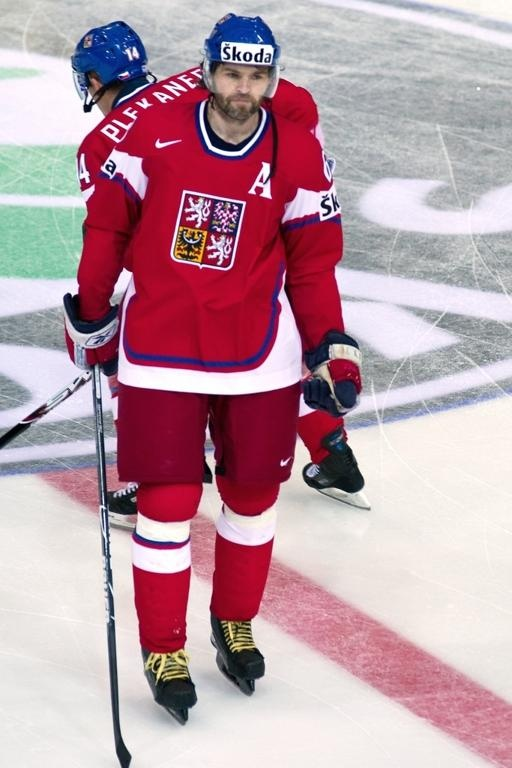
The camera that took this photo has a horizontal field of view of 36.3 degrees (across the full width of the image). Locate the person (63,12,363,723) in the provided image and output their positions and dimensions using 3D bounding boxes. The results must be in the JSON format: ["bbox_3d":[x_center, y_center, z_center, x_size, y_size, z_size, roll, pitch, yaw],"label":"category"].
[{"bbox_3d":[-0.086,-0.024,1.643,0.729,1.398,0.431,3,11,6],"label":"person"}]

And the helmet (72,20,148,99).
[{"bbox_3d":[-0.434,-0.936,2.284,0.227,0.198,0.163,6,39,31],"label":"helmet"}]

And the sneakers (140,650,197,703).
[{"bbox_3d":[-0.176,0.626,1.651,0.064,0.058,0.161,-8,15,-12],"label":"sneakers"}]

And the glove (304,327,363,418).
[{"bbox_3d":[0.166,-0.016,1.660,0.179,0.079,0.126,-21,37,51],"label":"glove"}]

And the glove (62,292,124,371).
[{"bbox_3d":[-0.397,-0.089,1.853,0.135,0.159,0.175,3,24,2],"label":"glove"}]

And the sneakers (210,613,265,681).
[{"bbox_3d":[-0.047,0.600,1.795,0.072,0.115,0.199,-4,7,-20],"label":"sneakers"}]

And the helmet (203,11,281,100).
[{"bbox_3d":[-0.029,-0.633,1.507,0.148,0.152,0.163,0,47,-10],"label":"helmet"}]
